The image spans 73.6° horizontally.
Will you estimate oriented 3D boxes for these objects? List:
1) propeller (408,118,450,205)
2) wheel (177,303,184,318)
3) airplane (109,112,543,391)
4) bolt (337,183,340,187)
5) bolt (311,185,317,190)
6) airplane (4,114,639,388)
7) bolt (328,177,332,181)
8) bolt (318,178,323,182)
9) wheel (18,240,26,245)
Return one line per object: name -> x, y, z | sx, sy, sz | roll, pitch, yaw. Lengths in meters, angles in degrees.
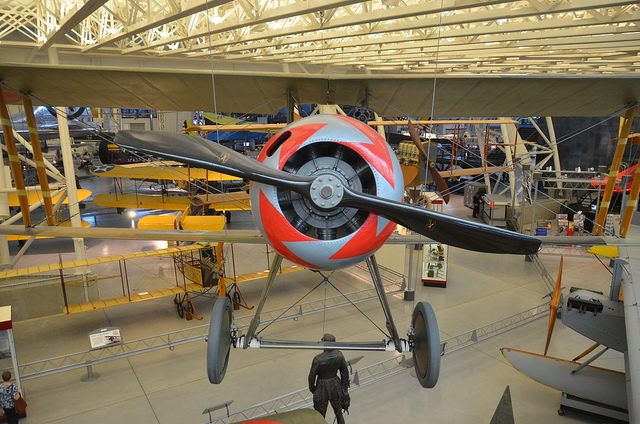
propeller -> 2.736, -1.278, 11.241 | 0.553, 0.295, 2.729 | -20, -20, 0
wheel -> -4.234, 2.973, 12.986 | 0.106, 0.327, 0.398 | -3, -4, -13
airplane -> 0.514, 1.203, 8.480 | 8.180, 3.599, 5.818 | 4, -16, 12
bolt -> 0.259, -0.390, 6.246 | 0.057, 0.047, 0.032 | -25, 2, 9
bolt -> -0.091, -0.358, 6.238 | 0.066, 0.048, 0.052 | -5, 1, -11
airplane -> 0.020, 1.315, 12.168 | 12.867, 4.267, 6.524 | 1, -5, 1
bolt -> 0.140, -0.482, 6.239 | 0.051, 0.039, 0.023 | -7, -33, 4
bolt -> 0.005, -0.466, 6.242 | 0.053, 0.055, 0.013 | -1, 7, -10
wheel -> -12.247, 1.237, 17.628 | 0.340, 0.238, 0.257 | 1, -4, -21
